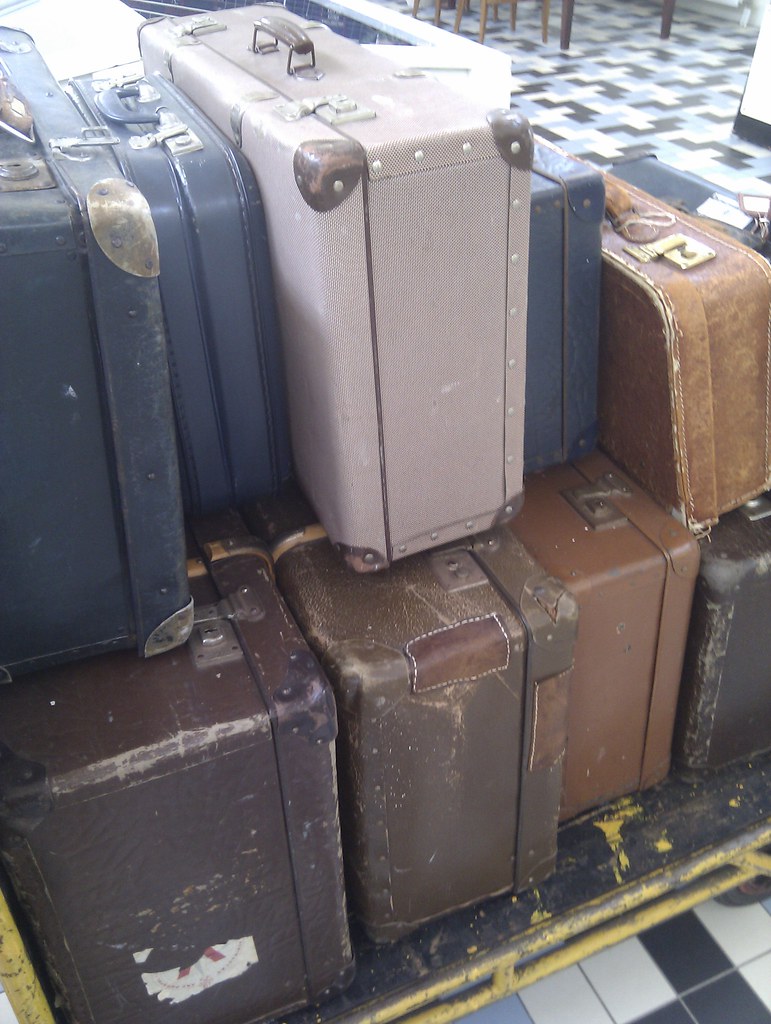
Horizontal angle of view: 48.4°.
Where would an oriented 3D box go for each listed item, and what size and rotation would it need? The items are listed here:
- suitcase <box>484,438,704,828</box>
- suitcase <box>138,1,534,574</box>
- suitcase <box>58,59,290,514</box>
[{"bbox_3d":[0.345,0.173,1.441,0.291,0.516,0.507,-12,33,-14],"label":"suitcase"},{"bbox_3d":[-0.077,-0.266,1.180,0.248,0.594,0.718,-16,43,-15],"label":"suitcase"},{"bbox_3d":[-0.266,-0.299,1.105,0.172,0.498,0.499,-13,41,-13],"label":"suitcase"}]
